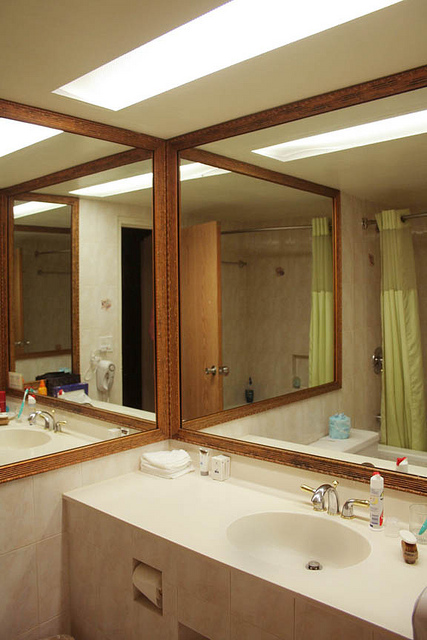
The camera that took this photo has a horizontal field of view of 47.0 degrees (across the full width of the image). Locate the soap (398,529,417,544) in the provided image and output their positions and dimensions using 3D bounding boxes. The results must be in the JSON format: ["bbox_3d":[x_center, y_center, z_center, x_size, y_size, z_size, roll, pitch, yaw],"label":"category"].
[{"bbox_3d":[0.508,0.572,1.283,0.031,0.008,0.032,11,10,16],"label":"soap"}]

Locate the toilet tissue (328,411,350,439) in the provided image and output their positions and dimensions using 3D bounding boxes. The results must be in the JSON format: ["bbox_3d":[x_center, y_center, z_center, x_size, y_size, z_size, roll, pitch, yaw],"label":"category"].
[{"bbox_3d":[0.427,0.361,1.683,0.075,0.090,0.078,1,-4,-11],"label":"toilet tissue"}]

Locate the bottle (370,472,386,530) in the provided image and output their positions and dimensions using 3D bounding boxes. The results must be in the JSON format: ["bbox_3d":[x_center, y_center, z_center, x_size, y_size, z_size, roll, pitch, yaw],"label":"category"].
[{"bbox_3d":[0.490,0.545,1.467,0.044,0.157,0.063,-1,2,18],"label":"bottle"}]

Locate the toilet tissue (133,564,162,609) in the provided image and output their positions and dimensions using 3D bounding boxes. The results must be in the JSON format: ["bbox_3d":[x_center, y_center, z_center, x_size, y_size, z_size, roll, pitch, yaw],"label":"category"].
[{"bbox_3d":[-0.208,0.857,1.561,0.053,0.109,0.120,-2,2,-38],"label":"toilet tissue"}]

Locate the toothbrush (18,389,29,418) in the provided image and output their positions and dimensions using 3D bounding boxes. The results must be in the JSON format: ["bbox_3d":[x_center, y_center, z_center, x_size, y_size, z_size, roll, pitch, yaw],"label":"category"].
[{"bbox_3d":[-0.676,0.293,1.748,0.013,0.126,0.018,5,-20,15],"label":"toothbrush"}]

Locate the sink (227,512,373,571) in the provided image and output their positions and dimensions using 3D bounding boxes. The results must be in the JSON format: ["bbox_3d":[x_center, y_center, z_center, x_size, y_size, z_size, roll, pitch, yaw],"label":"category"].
[{"bbox_3d":[0.268,0.691,1.504,0.432,0.132,0.197,0,2,24],"label":"sink"}]
